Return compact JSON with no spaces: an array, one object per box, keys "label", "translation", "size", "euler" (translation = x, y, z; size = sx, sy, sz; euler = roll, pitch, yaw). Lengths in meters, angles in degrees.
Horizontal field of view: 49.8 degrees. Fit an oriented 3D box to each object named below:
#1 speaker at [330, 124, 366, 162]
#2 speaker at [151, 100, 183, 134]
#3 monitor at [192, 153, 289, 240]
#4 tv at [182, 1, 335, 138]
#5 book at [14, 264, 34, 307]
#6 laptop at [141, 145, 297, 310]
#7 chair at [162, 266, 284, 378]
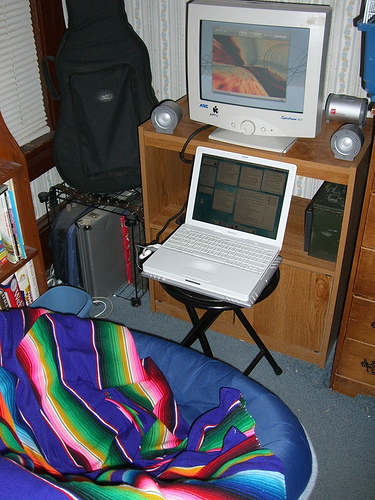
[{"label":"speaker","translation":[0.510,-0.345,1.298],"size":[0.097,0.106,0.087],"euler":[13,30,16]},{"label":"speaker","translation":[-0.086,-0.516,1.580],"size":[0.112,0.105,0.101],"euler":[15,33,20]},{"label":"monitor","translation":[0.203,-0.205,1.489],"size":[0.284,0.219,0.022],"euler":[17,13,20]},{"label":"tv","translation":[0.234,-0.588,1.313],"size":[0.427,0.392,0.276],"euler":[18,57,20]},{"label":"book","translation":[-0.703,0.155,1.743],"size":[0.032,0.136,0.102],"euler":[-4,31,17]},{"label":"laptop","translation":[0.111,-0.112,1.384],"size":[0.420,0.373,0.396],"euler":[17,31,23]},{"label":"chair","translation":[0.162,0.284,1.558],"size":[0.300,0.335,0.302],"euler":[26,52,27]}]
